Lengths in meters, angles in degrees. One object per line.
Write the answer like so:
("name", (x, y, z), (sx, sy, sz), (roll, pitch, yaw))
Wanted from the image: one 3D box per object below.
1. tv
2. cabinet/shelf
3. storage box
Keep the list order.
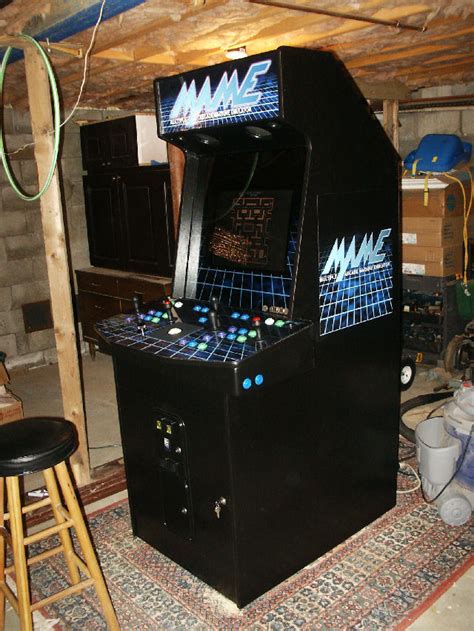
("tv", (0.034, -0.288, 1.806), (0.329, 0.277, 0.077), (10, 6, 37))
("cabinet/shelf", (-0.956, -0.653, 4.550), (0.638, 2.081, 1.409), (-14, 15, -36))
("storage box", (1.507, -0.663, 3.951), (0.502, 0.754, 0.296), (-1, 12, 15))
